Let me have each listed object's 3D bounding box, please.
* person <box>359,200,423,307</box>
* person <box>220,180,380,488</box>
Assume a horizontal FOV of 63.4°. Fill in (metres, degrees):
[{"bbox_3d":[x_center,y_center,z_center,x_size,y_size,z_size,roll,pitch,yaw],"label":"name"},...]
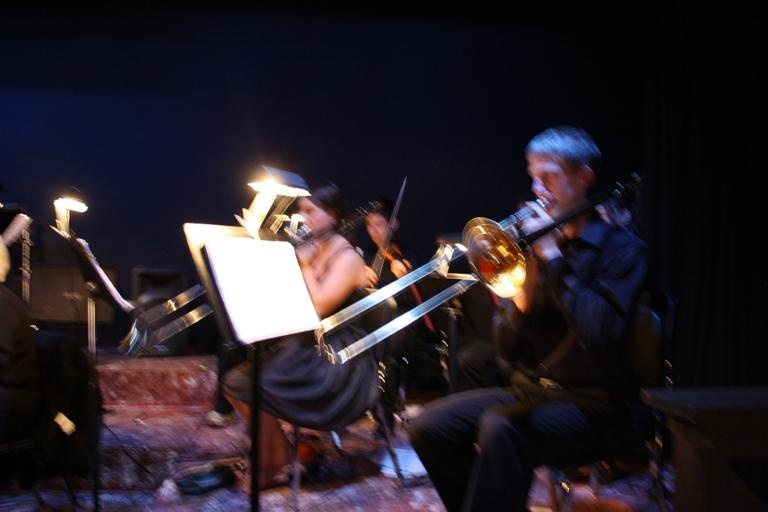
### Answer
[{"bbox_3d":[-0.008,-0.078,6.029,0.455,1.055,0.454,18,17,34],"label":"person"},{"bbox_3d":[-0.578,0.570,4.432,1.023,2.068,1.112,-1,17,-15],"label":"person"}]
